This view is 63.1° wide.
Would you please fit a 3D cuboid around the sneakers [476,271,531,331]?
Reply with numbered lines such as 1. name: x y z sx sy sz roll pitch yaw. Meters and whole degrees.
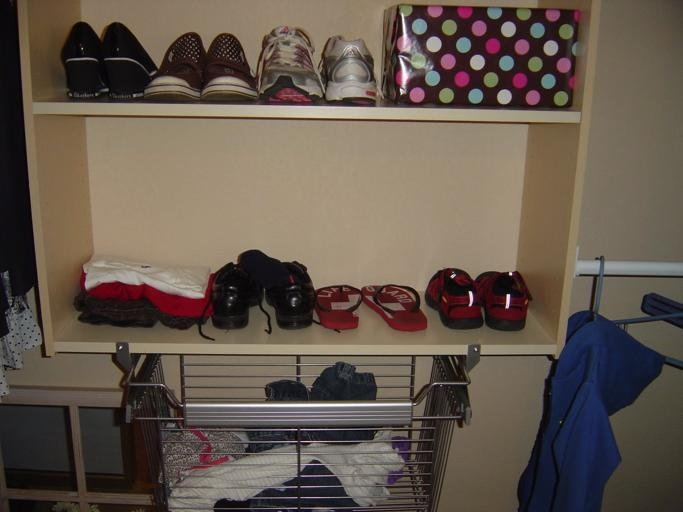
1. sneakers: 0.448 0.122 1.515 0.100 0.079 0.187 -1 18 6

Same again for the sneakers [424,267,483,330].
1. sneakers: 0.313 0.118 1.579 0.103 0.084 0.196 -2 19 -2

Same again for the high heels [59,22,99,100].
1. high heels: -0.630 -0.480 1.395 0.081 0.092 0.231 -2 34 -12

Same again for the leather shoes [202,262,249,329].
1. leather shoes: -0.309 0.108 1.494 0.087 0.106 0.163 2 33 -7

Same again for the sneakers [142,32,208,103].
1. sneakers: -0.426 -0.482 1.419 0.158 0.178 0.164 -5 15 -12

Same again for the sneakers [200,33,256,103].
1. sneakers: -0.293 -0.481 1.425 0.140 0.175 0.171 -5 15 -12

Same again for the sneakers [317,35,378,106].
1. sneakers: 0.005 -0.478 1.441 0.187 0.181 0.144 3 15 20
